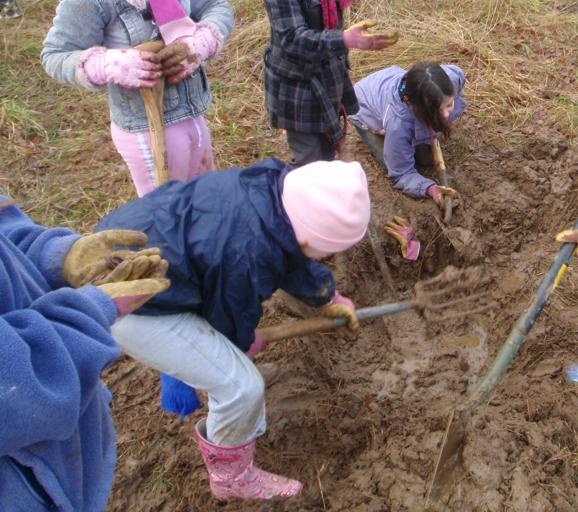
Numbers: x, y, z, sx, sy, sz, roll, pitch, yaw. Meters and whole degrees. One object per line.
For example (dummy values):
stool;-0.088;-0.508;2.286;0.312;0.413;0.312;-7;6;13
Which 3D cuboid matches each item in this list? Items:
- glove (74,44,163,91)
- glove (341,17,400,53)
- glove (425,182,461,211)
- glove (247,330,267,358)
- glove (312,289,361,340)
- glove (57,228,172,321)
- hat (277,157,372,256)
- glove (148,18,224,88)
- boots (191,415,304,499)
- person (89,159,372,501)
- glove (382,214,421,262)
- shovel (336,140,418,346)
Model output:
glove;-0.781;-0.865;2.738;0.283;0.122;0.183;1;76;-13
glove;0.403;-1.099;2.994;0.205;0.164;0.092;0;58;4
glove;0.993;-0.399;3.877;0.157;0.131;0.153;-25;42;-18
glove;-0.151;0.433;2.876;0.083;0.093;0.117;2;44;11
glove;0.237;0.281;3.082;0.206;0.181;0.094;7;34;-19
glove;-0.581;0.038;2.043;0.331;0.126;0.262;23;33;11
hat;0.166;-0.220;2.488;0.372;0.321;0.292;14;45;16
glove;-0.486;-0.986;2.926;0.357;0.206;0.138;-47;7;4
boots;-0.210;0.976;2.864;0.425;0.432;0.209;-9;52;-8
person;-0.206;0.238;2.783;1.040;1.517;1.114;-17;39;-33
glove;0.728;-0.118;3.908;0.200;0.287;0.070;-27;4;-16
shovel;0.538;-0.020;3.565;0.151;1.351;0.180;-20;0;38
